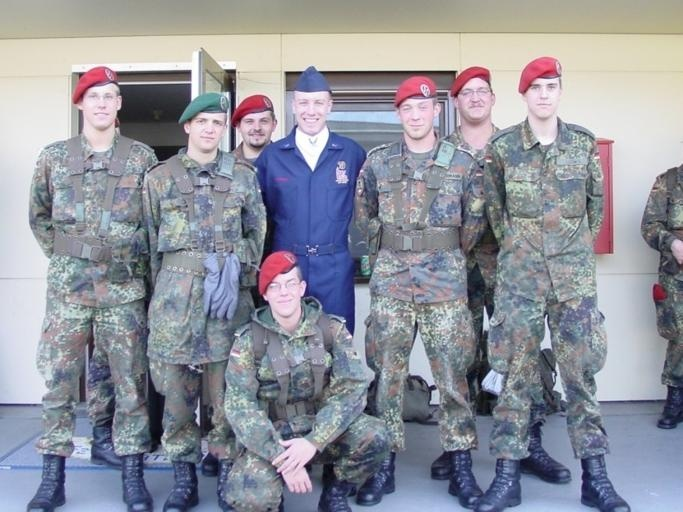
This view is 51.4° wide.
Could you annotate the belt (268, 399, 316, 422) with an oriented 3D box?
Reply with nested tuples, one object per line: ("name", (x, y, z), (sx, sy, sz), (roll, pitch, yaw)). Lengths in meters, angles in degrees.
("belt", (-0.273, 0.874, 4.020), (0.182, 0.087, 0.133), (-1, -1, -1))

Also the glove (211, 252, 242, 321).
("glove", (-0.666, 0.185, 4.052), (0.179, 0.345, 0.115), (8, -9, -23))

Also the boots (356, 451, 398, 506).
("boots", (0.286, 1.348, 4.230), (0.153, 0.313, 0.401), (0, -7, 36))

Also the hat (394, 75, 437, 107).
("hat", (0.442, -0.981, 4.248), (0.237, 0.192, 0.168), (-1, 4, 2))

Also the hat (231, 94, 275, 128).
("hat", (-0.657, -1.026, 5.129), (0.214, 0.090, 0.236), (-19, 9, -34))

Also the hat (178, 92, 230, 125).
("hat", (-0.851, -0.856, 4.232), (0.278, 0.120, 0.230), (-15, -3, -1))

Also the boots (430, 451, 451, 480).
("boots", (0.627, 1.326, 4.440), (0.096, 0.124, 0.208), (-4, -9, 27))

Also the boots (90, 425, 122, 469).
("boots", (-1.596, 1.295, 4.788), (0.127, 0.273, 0.292), (-20, -32, 39))

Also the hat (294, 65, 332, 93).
("hat", (-0.192, -1.142, 4.548), (0.186, 0.130, 0.204), (-2, 19, -3))

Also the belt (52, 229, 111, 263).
("belt", (-1.555, -0.053, 4.241), (0.346, 0.184, 0.086), (1, 5, 18))

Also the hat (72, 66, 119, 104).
("hat", (-1.494, -1.029, 4.281), (0.251, 0.220, 0.132), (-2, 4, -11))
